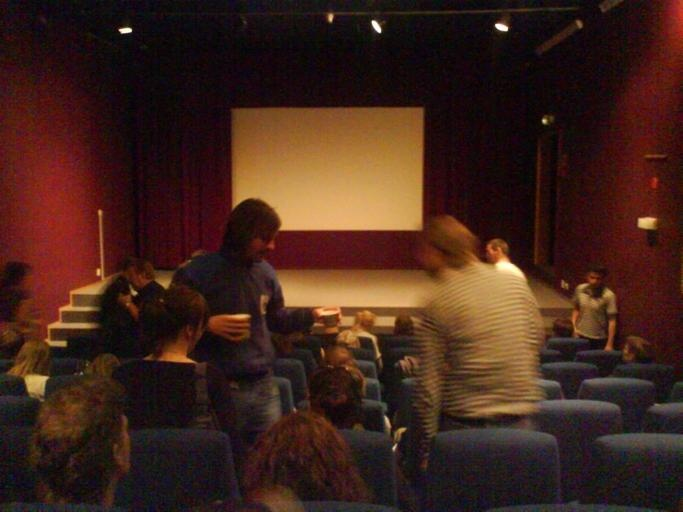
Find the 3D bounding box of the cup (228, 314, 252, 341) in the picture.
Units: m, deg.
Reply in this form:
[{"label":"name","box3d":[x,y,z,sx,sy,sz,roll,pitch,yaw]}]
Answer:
[{"label":"cup","box3d":[-0.492,0.336,2.938,0.099,0.112,0.111,-3,4,-36]}]

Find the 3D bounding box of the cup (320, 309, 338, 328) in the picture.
[{"label":"cup","box3d":[-0.070,0.328,3.321,0.084,0.068,0.088,-1,12,0]}]
